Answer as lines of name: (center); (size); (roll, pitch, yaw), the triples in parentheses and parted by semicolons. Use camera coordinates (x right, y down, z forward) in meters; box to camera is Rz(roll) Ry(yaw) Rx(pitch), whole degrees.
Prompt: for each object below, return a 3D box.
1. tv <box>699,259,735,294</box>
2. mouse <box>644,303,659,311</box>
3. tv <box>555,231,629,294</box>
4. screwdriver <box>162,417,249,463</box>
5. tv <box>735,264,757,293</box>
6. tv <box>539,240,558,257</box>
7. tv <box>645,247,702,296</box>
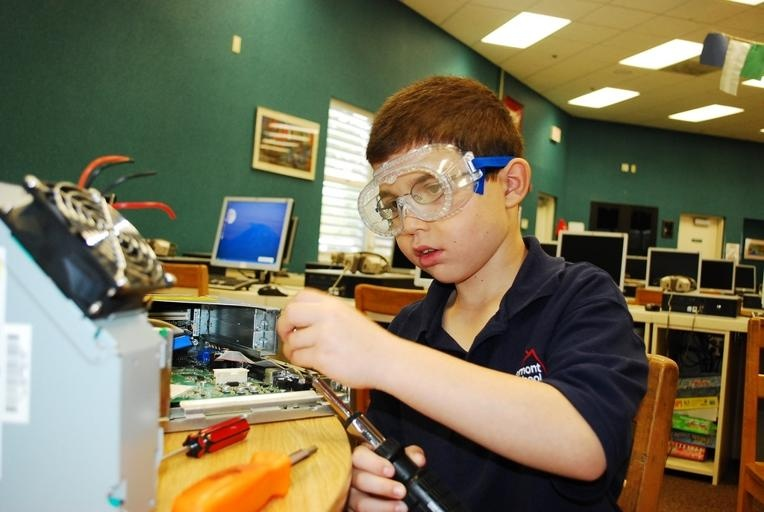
tv: (3.104, 0.181, 5.167); (0.184, 0.311, 0.298); (-2, 4, -42)
mouse: (1.427, 0.268, 2.956); (0.057, 0.024, 0.042); (0, 2, -2)
tv: (1.266, 0.007, 3.437); (0.426, 0.426, 0.361); (4, -14, 25)
screwdriver: (-0.280, 0.290, 0.872); (0.139, 0.048, 0.026); (-14, 32, -35)
tv: (3.750, 0.240, 5.791); (0.268, 0.287, 0.120); (2, -21, 15)
tv: (0.997, -0.044, 3.350); (0.115, 0.120, 0.064); (-1, 11, 6)
tv: (2.256, 0.103, 4.352); (0.373, 0.346, 0.036); (3, 20, 22)
